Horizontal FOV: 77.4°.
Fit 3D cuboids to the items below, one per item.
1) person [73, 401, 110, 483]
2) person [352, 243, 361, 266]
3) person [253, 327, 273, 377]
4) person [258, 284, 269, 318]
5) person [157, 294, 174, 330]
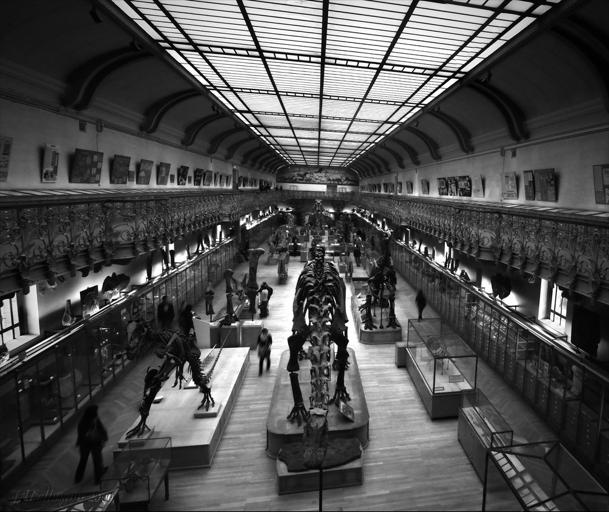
[{"bbox_3d":[-4.038,3.577,7.339,0.729,1.590,0.403,1,2,24],"label":"person"},{"bbox_3d":[3.467,-0.150,25.190,0.446,1.512,2.048,0,3,9],"label":"person"},{"bbox_3d":[-1.223,2.854,11.753,0.408,1.290,0.875,0,2,-6],"label":"person"},{"bbox_3d":[-1.750,1.859,16.650,0.536,1.445,1.081,0,3,-8],"label":"person"},{"bbox_3d":[-4.702,2.055,13.048,0.540,1.437,0.384,-4,15,-26],"label":"person"}]
